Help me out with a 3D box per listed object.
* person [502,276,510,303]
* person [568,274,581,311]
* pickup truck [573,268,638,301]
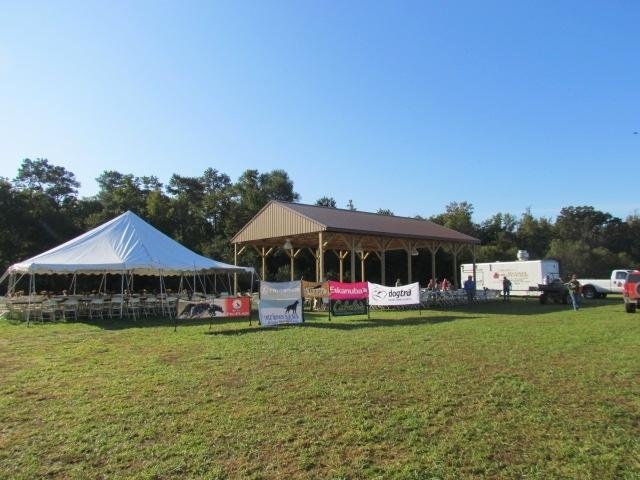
[{"bbox_3d":[9.194,2.432,25.745,0.285,1.225,2.151,0,4,20],"label":"person"},{"bbox_3d":[9.514,2.018,19.557,0.325,1.335,1.167,1,4,26],"label":"person"},{"bbox_3d":[14.192,2.345,27.171,2.262,1.852,4.123,5,-10,-42],"label":"pickup truck"}]
